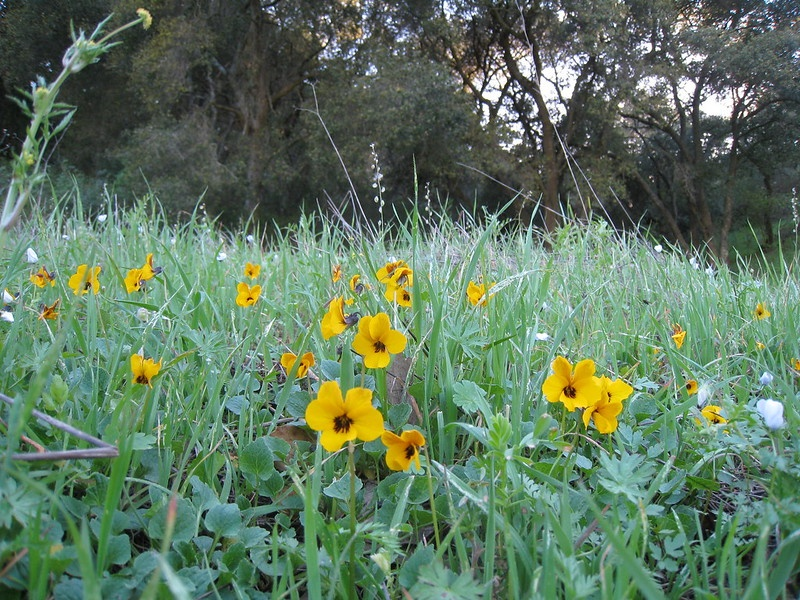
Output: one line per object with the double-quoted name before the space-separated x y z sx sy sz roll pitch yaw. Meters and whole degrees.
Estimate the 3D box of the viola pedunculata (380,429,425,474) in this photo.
"viola pedunculata" 0.003 0.379 1.530 0.105 0.122 0.060 -34 7 5
